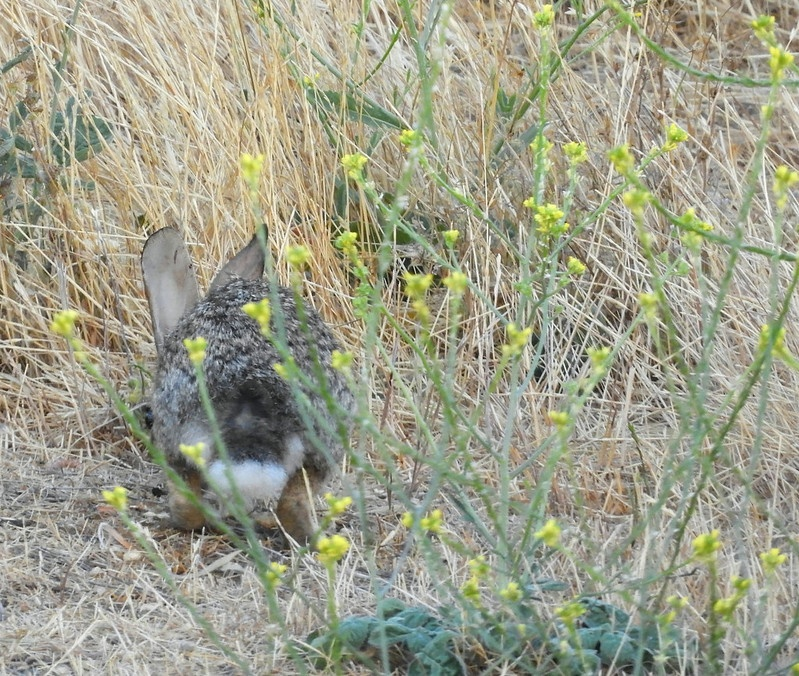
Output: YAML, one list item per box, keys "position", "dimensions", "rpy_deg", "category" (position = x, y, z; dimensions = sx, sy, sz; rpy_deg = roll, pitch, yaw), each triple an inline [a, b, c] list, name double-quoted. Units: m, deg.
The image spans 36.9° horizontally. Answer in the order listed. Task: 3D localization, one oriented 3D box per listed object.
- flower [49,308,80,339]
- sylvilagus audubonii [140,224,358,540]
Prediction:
- position: [-1.044, -0.047, 3.678]
  dimensions: [0.055, 0.089, 0.112]
  rpy_deg: [10, 68, 5]
  category: "flower"
- position: [-0.691, 0.168, 4.554]
  dimensions: [0.696, 1.279, 1.028]
  rpy_deg: [2, 99, -14]
  category: "sylvilagus audubonii"
